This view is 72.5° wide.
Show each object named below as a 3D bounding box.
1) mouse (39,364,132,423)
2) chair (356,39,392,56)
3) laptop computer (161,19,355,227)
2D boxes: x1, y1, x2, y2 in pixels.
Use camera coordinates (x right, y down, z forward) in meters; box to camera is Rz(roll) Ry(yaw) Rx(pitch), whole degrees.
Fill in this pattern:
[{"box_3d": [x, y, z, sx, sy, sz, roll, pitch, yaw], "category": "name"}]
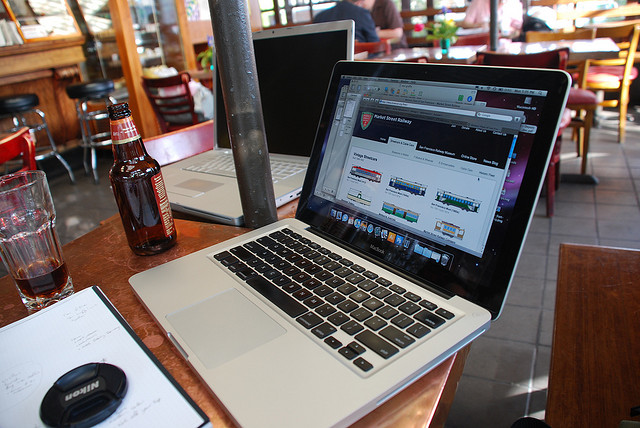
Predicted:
[{"box_3d": [-0.342, 0.262, 0.640, 0.097, 0.039, 0.080, 6, 30, 15], "category": "mouse"}, {"box_3d": [0.505, -1.508, 4.008, 0.188, 0.140, 0.482, 14, 32, 27], "category": "chair"}, {"box_3d": [-0.269, -0.276, 1.193, 0.510, 0.385, 0.612, -26, 30, -38], "category": "laptop computer"}]
